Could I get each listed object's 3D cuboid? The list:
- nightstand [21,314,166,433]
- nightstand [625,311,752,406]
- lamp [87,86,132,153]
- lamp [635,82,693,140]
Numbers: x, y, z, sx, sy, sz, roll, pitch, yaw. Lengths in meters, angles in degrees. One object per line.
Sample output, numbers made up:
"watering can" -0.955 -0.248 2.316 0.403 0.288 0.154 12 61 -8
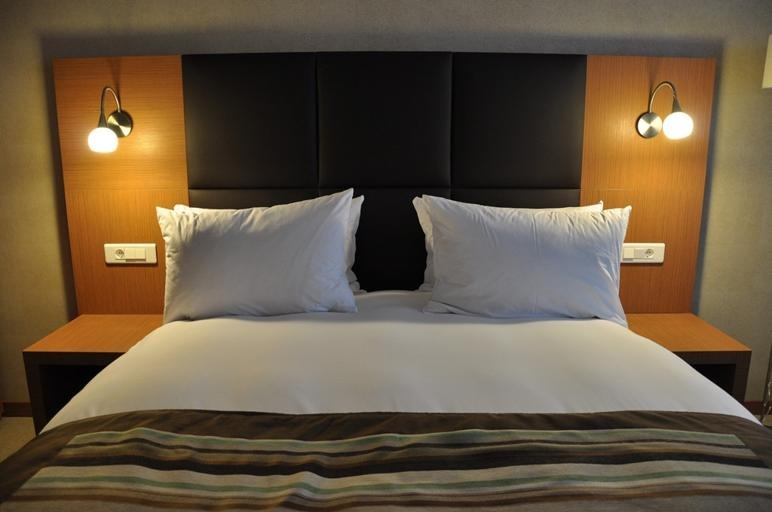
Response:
"nightstand" -1.542 0.669 3.397 0.689 0.485 0.393 -3 15 16
"nightstand" 1.720 0.467 3.395 0.501 0.412 0.548 0 8 12
"lamp" -1.581 -0.772 3.422 0.252 0.381 0.222 -1 12 -9
"lamp" 1.596 -0.833 3.444 0.324 0.331 0.214 5 12 19
